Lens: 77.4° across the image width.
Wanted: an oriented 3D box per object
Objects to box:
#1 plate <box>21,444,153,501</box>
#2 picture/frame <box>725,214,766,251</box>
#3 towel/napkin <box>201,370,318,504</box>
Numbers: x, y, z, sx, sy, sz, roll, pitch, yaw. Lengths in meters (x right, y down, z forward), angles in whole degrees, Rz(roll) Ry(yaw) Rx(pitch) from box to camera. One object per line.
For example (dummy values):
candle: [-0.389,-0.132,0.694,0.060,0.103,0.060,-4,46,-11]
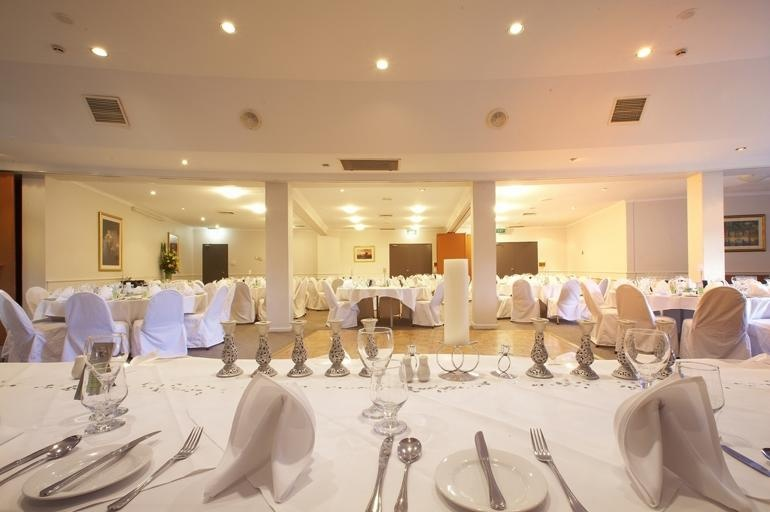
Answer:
plate: [-1.969,1.457,3.238,0.787,0.314,0.164,-1,-4,-1]
picture/frame: [8.568,-0.568,11.643,0.705,0.772,0.051,-13,-6,20]
towel/napkin: [-0.783,1.305,3.293,0.600,0.828,0.367,14,-21,12]
